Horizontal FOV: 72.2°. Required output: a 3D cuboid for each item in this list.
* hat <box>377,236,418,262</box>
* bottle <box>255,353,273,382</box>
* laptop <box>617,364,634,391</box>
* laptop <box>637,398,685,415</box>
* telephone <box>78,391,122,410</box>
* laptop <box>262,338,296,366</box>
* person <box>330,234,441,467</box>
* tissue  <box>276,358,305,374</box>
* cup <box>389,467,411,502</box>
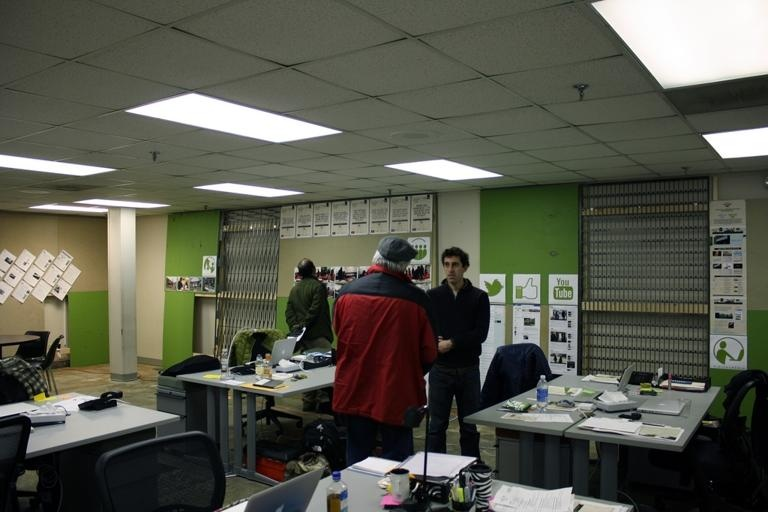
[{"bbox_3d":[0.120,-0.052,4.550,0.385,0.140,0.396,1,14,-8],"label":"hat"},{"bbox_3d":[-1.385,1.300,6.098,0.240,0.390,0.226,-1,0,0],"label":"bottle"},{"bbox_3d":[2.460,1.229,5.384,0.138,0.253,0.682,-2,-3,26],"label":"laptop"},{"bbox_3d":[2.493,1.347,4.719,0.322,0.043,0.577,-3,-4,35],"label":"laptop"},{"bbox_3d":[-2.537,1.302,4.707,0.339,0.108,0.300,1,-3,-27],"label":"telephone"},{"bbox_3d":[-1.294,1.158,6.470,0.274,0.234,0.381,10,5,28],"label":"laptop"},{"bbox_3d":[-0.001,0.719,4.031,0.773,1.697,0.289,-1,-2,-7],"label":"person"},{"bbox_3d":[-1.131,1.323,6.297,0.189,0.073,0.172,2,0,34],"label":"tissue "},{"bbox_3d":[0.092,1.342,3.084,0.111,0.162,0.107,-1,-3,0],"label":"cup"}]
